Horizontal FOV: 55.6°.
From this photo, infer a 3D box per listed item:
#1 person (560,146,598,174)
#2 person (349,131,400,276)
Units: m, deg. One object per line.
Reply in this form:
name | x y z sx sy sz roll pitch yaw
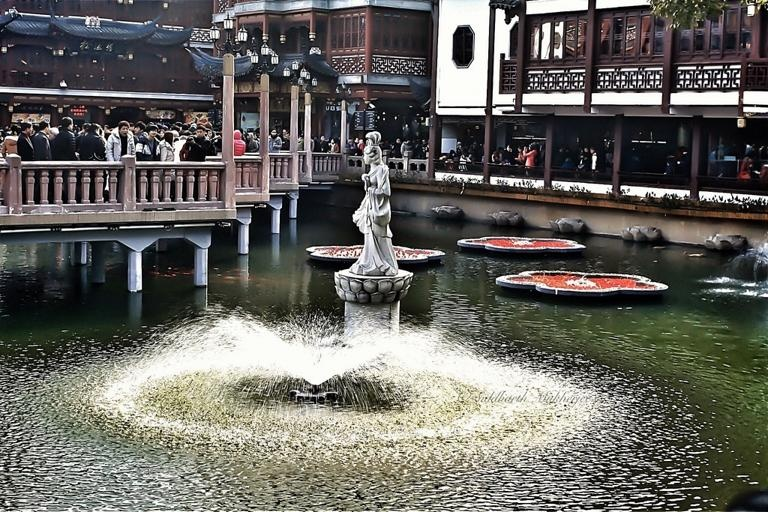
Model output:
person | 8.991 -4.527 33.700 1.718 0.696 1.966 0 18 5
person | -0.141 -0.954 12.854 0.829 2.467 0.907 1 12 -1
